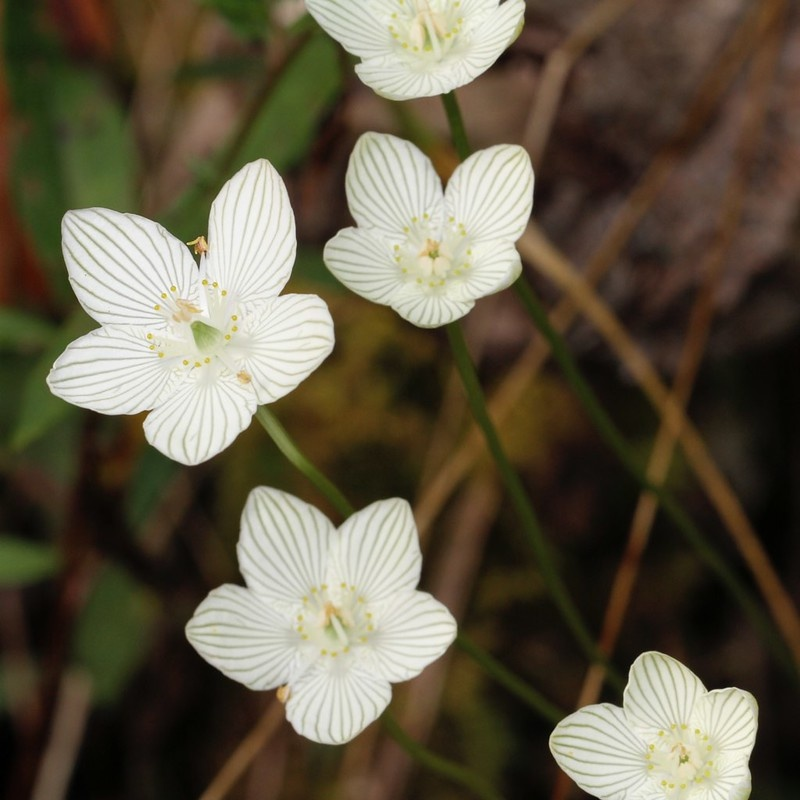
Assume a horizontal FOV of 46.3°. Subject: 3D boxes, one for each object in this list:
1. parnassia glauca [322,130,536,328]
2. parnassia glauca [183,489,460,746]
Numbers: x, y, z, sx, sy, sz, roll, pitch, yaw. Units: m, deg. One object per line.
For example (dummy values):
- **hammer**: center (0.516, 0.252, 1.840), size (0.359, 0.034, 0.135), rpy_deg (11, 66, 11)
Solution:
- **parnassia glauca**: center (0.055, -0.288, 1.535), size (0.248, 0.414, 0.214), rpy_deg (7, -7, 12)
- **parnassia glauca**: center (-0.116, 0.332, 1.417), size (0.343, 0.185, 0.434), rpy_deg (-21, 46, -23)
